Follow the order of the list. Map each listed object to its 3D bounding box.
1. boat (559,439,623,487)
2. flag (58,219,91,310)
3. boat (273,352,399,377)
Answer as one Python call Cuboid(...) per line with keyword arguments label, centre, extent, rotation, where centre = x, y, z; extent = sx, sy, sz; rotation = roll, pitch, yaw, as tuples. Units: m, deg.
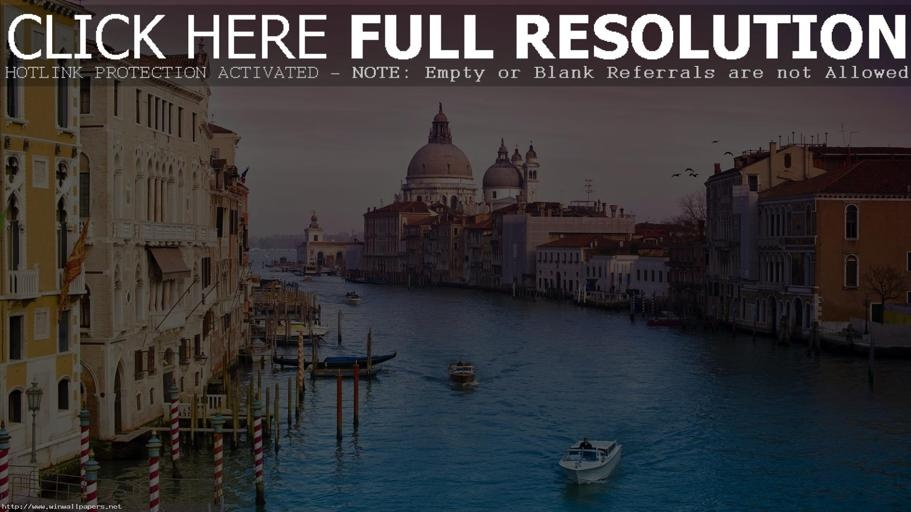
Cuboid(label="boat", centre=(7.417, 11.193, 69.944), extent=(2.428, 1.972, 3.573), rotation=(1, 2, 36))
Cuboid(label="flag", centre=(-19.278, 0.411, 64.320), extent=(1.424, 4.505, 2.761), rotation=(-1, 2, -16))
Cuboid(label="boat", centre=(-8.844, 7.789, 93.697), extent=(6.393, 1.608, 8.429), rotation=(-2, 2, -42))
